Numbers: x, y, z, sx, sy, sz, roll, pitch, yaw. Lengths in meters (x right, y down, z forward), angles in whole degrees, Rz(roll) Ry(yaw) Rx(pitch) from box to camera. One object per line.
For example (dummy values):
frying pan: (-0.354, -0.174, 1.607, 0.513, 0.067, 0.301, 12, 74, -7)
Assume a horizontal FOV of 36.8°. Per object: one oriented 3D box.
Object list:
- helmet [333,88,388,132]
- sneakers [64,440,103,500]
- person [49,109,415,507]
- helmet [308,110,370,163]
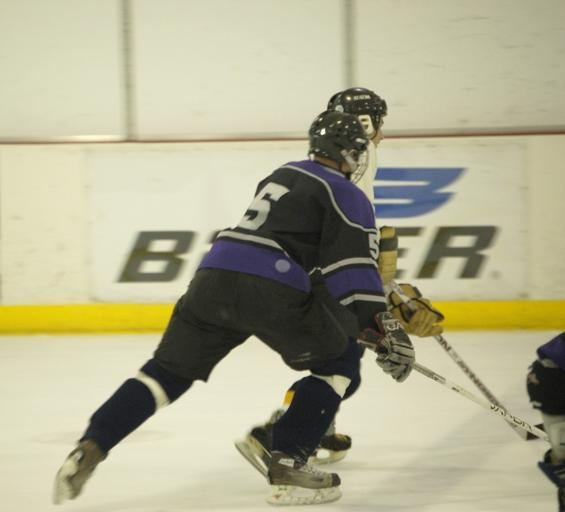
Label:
helmet: (0.384, -0.758, 4.347, 0.334, 0.188, 0.229, -1, 8, -15)
sneakers: (-0.829, 0.880, 3.508, 0.103, 0.244, 0.126, 18, 9, 23)
person: (-0.068, 0.214, 3.679, 1.285, 1.756, 0.536, 12, 9, -8)
helmet: (0.243, -0.534, 3.789, 0.273, 0.190, 0.283, 12, 19, 23)
